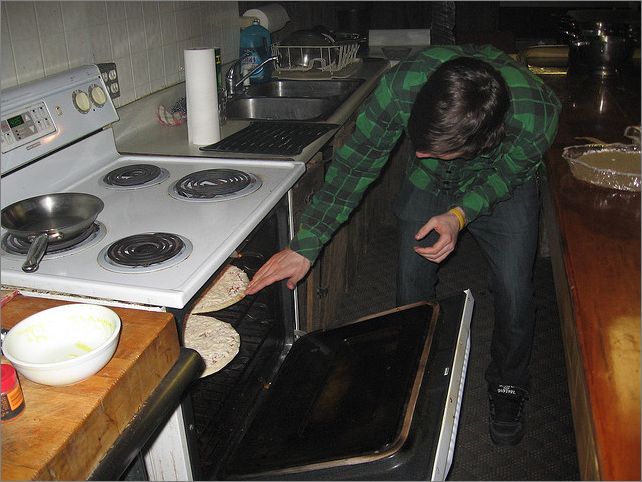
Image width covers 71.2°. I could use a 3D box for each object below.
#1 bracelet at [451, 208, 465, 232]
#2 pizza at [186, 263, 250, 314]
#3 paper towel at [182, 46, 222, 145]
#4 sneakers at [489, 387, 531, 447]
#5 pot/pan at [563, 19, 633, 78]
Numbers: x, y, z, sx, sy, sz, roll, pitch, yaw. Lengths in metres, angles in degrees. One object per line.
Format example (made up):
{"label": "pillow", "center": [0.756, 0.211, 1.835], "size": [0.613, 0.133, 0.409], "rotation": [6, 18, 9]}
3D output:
{"label": "bracelet", "center": [0.480, -0.071, 1.545], "size": [0.026, 0.070, 0.053], "rotation": [-30, 44, -13]}
{"label": "pizza", "center": [-0.325, 0.158, 1.435], "size": [0.196, 0.015, 0.186], "rotation": [7, 38, 38]}
{"label": "paper towel", "center": [-0.512, -0.580, 1.845], "size": [0.149, 0.344, 0.140], "rotation": [-14, 8, 7]}
{"label": "sneakers", "center": [0.753, 0.703, 1.799], "size": [0.108, 0.134, 0.294], "rotation": [1, 44, 19]}
{"label": "pot/pan", "center": [1.763, -1.248, 2.985], "size": [0.458, 0.309, 0.421], "rotation": [-6, 30, 8]}
